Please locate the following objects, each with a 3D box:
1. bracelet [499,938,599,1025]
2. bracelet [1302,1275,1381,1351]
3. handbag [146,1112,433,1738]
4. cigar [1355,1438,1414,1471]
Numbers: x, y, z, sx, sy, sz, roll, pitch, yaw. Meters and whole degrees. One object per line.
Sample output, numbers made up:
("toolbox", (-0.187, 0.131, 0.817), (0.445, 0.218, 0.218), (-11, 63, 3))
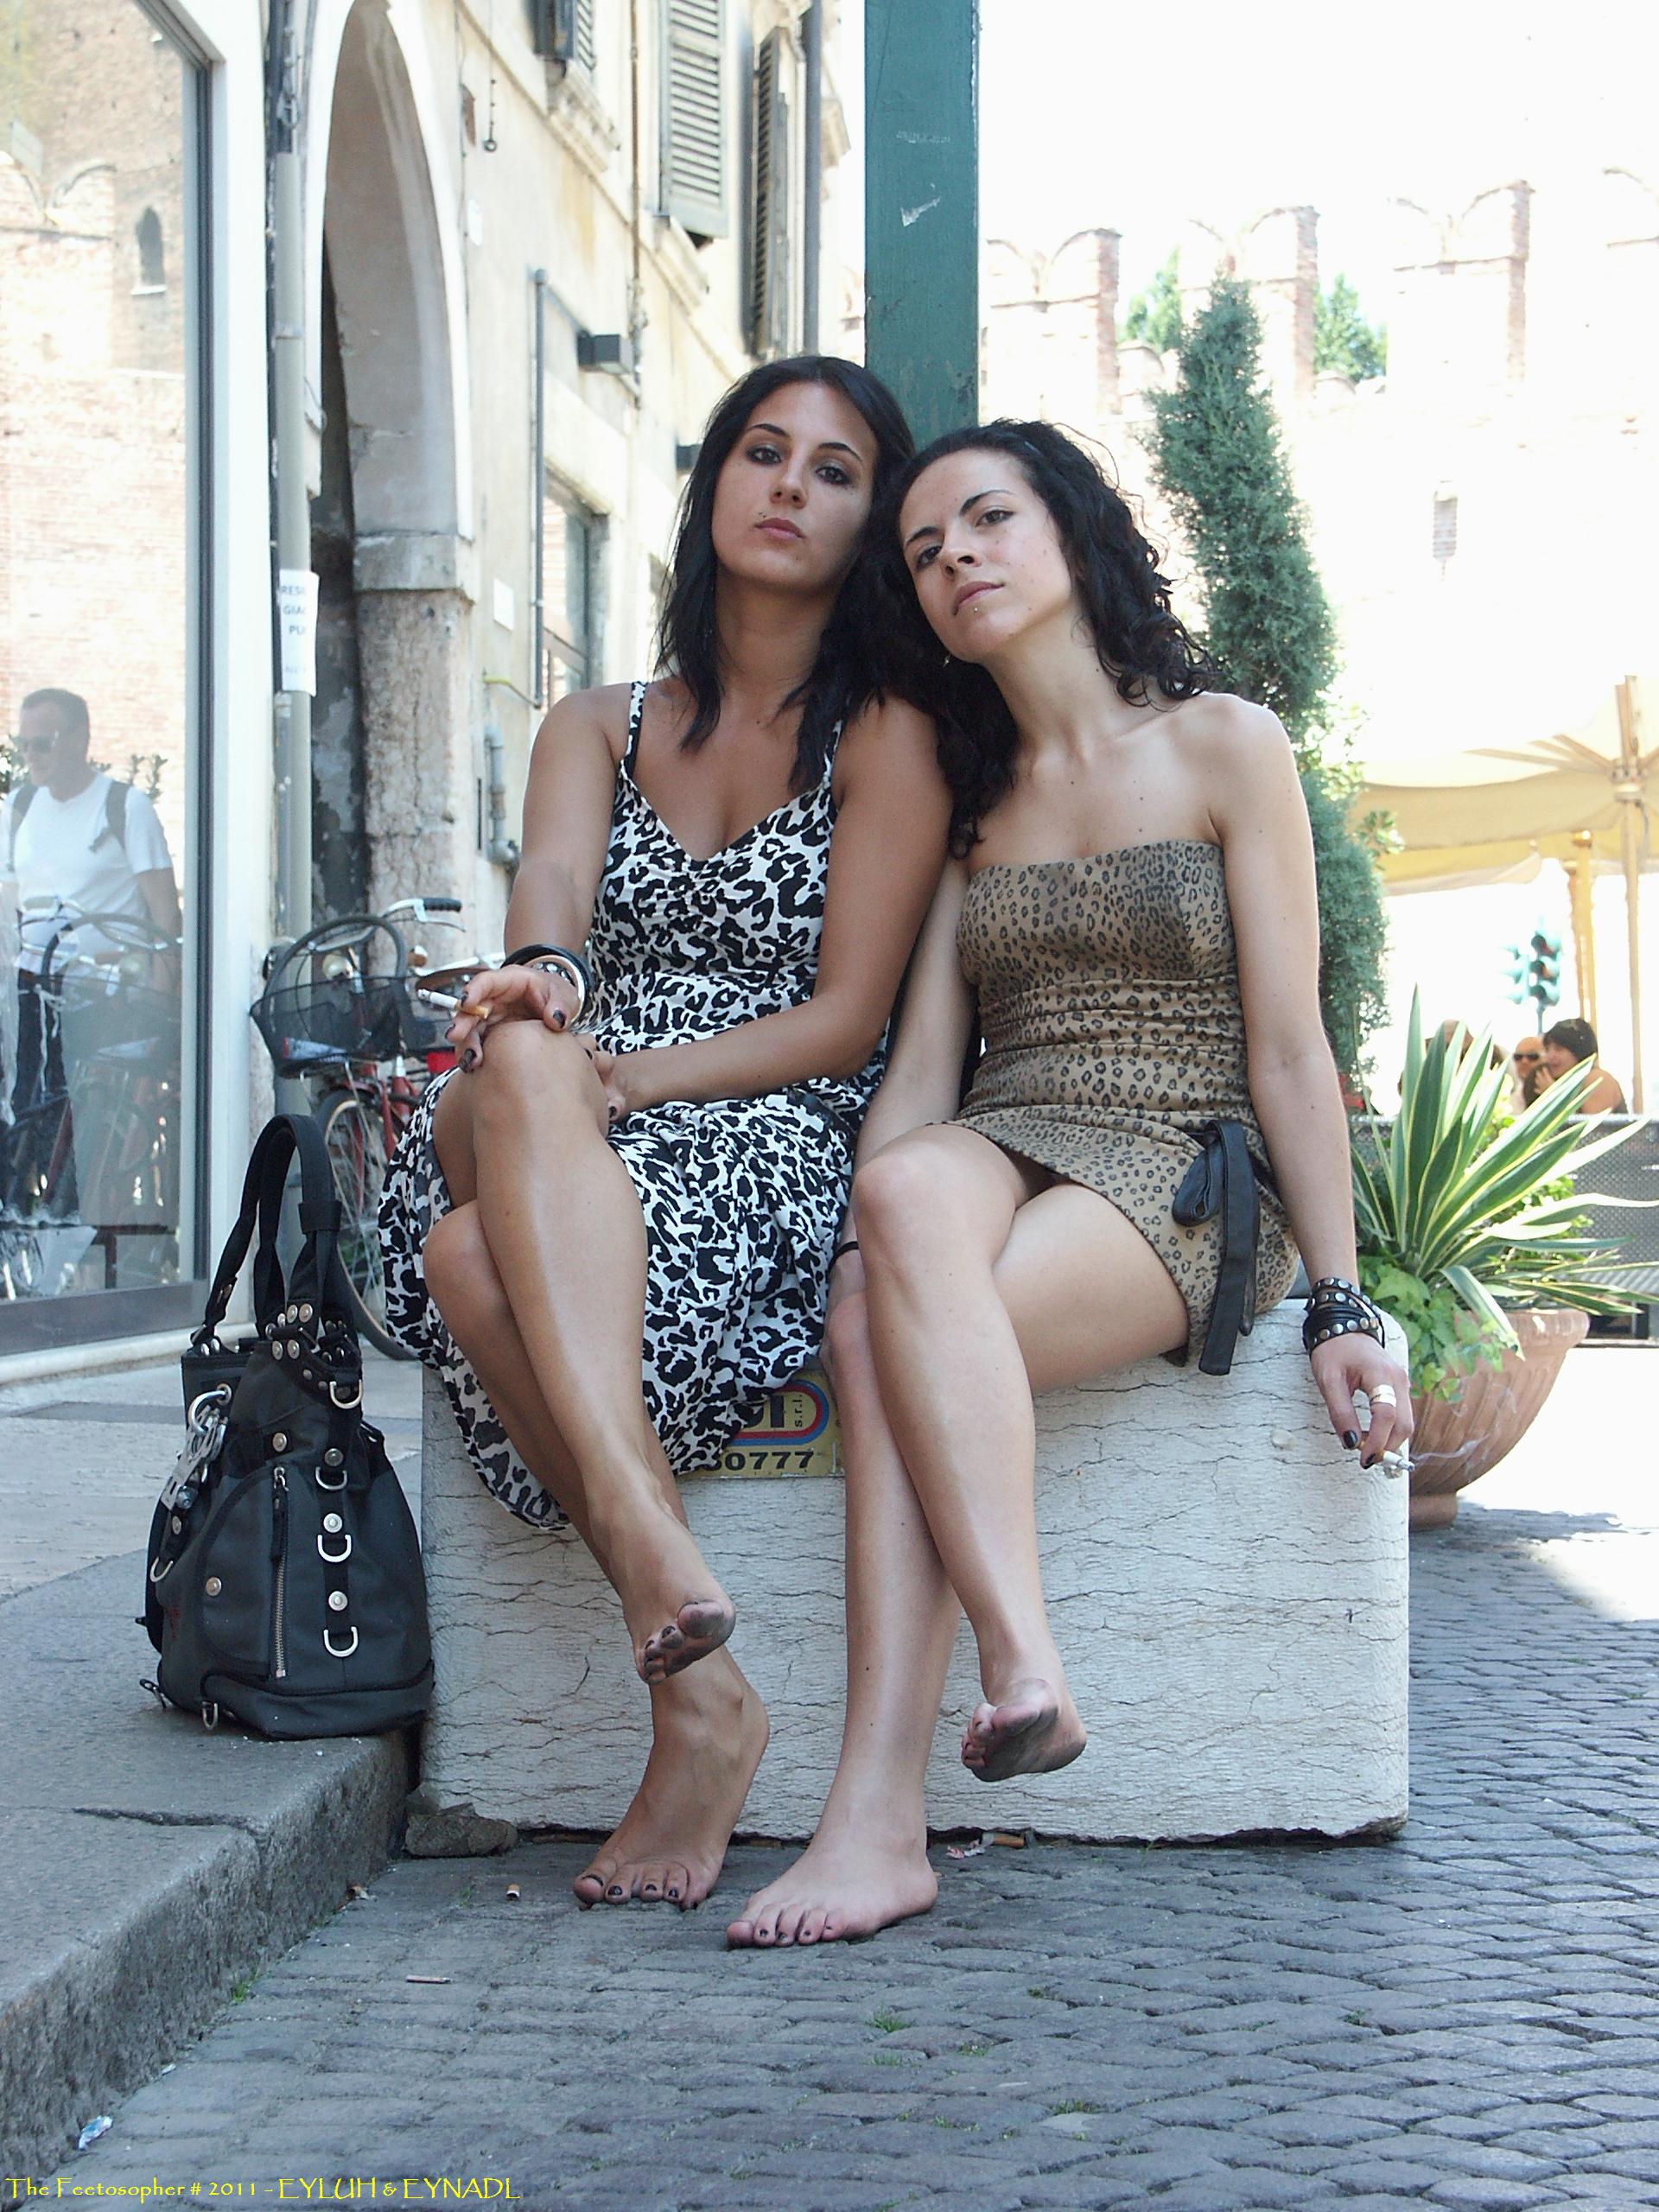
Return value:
("bracelet", (-0.283, -0.129, 2.574), (0.079, 0.089, 0.035), (-40, -7, 21))
("bracelet", (0.500, 0.207, 2.434), (0.058, 0.060, 0.159), (-2, -9, 10))
("handbag", (-0.656, 0.379, 3.048), (0.402, 0.819, 0.696), (1, -1, -18))
("cigar", (0.539, 0.345, 2.418), (0.029, 0.019, 0.070), (-45, -39, 22))
